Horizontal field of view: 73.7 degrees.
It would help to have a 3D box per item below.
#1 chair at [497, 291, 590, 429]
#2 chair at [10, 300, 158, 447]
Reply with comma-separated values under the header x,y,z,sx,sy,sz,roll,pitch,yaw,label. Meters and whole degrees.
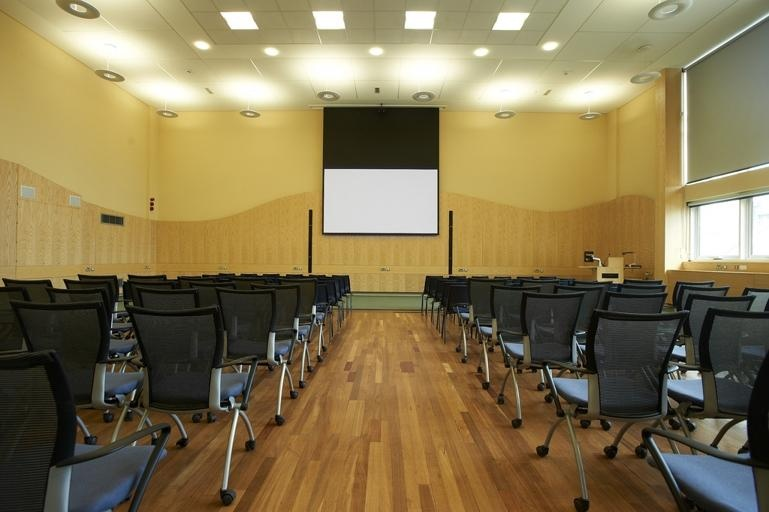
x,y,z,sx,sy,sz,roll,pitch,yaw,label
1.832,1.114,6.069,1.076,1.513,1.241,2,3,37,chair
-3.114,1.117,5.299,1.063,1.460,1.182,5,2,20,chair
